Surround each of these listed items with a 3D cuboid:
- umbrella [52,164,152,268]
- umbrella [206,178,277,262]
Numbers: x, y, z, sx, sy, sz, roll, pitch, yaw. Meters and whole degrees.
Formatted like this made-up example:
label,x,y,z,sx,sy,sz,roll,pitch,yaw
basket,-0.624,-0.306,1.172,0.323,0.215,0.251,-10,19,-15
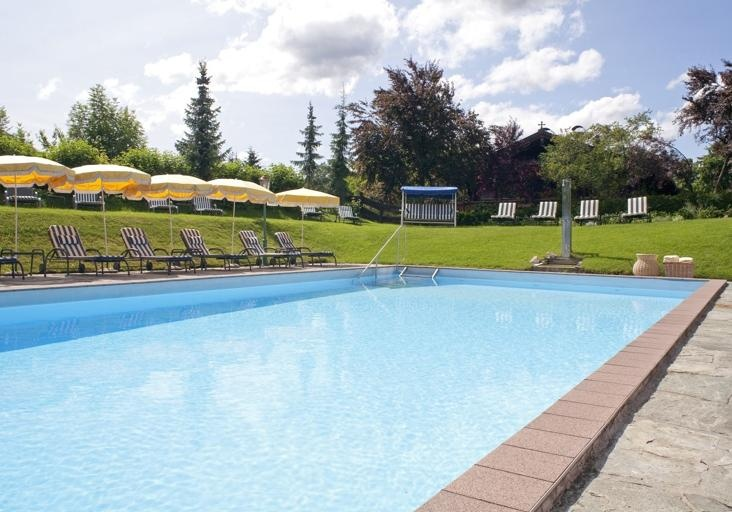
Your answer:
label,x,y,z,sx,sy,sz,roll,pitch,yaw
umbrella,-7.555,-1.247,18.287,3.249,3.378,3.090,-5,14,-30
umbrella,-4.318,-1.259,19.804,2.618,2.482,2.588,1,2,-35
